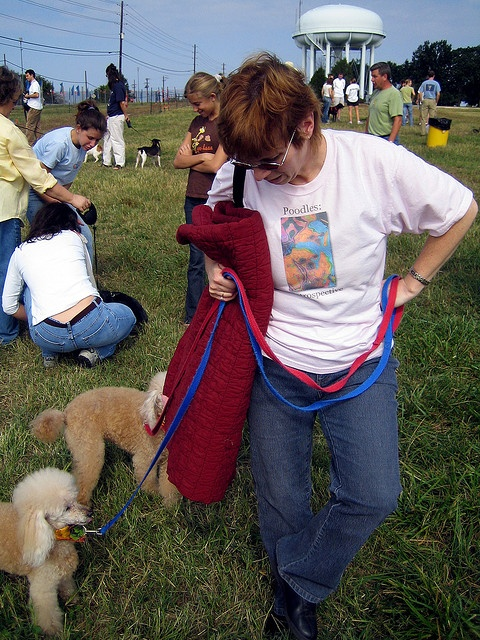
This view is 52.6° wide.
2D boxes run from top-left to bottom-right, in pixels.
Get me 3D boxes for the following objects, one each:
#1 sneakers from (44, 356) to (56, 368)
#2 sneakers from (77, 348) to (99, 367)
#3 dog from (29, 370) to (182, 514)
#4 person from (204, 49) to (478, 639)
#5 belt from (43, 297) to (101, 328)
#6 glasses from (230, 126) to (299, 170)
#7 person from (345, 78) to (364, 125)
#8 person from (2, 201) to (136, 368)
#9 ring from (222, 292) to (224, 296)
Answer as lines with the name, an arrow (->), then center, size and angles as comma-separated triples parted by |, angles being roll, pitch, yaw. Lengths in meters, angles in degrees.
sneakers -> -1.573, 0.347, 4.000 | 0.052, 0.076, 0.110 | 0, -2, -7
sneakers -> -1.214, 0.310, 3.883 | 0.133, 0.115, 0.132 | -11, 25, 20
dog -> -0.697, 0.606, 2.686 | 0.769, 0.726, 0.484 | 2, 21, 1
person -> 0.330, 0.258, 1.857 | 0.926, 2.250, 0.748 | 0, 20, -4
belt -> -1.275, -0.013, 3.702 | 0.247, 0.065, 0.235 | -32, 6, 10
glasses -> 0.067, -0.540, 1.541 | 0.215, 0.126, 0.053 | 11, 22, 20
person -> 5.554, -10.856, 23.841 | 0.658, 2.167, 0.609 | -6, 48, 9
person -> -1.452, -0.274, 3.901 | 0.898, 1.180, 0.640 | 8, 21, 18
ring -> -0.066, -0.097, 1.797 | 0.008, 0.013, 0.003 | -2, -2, 28
